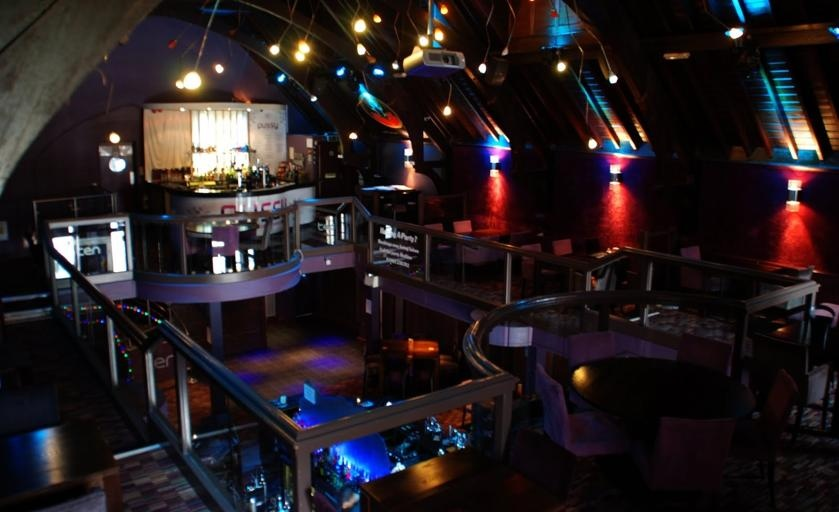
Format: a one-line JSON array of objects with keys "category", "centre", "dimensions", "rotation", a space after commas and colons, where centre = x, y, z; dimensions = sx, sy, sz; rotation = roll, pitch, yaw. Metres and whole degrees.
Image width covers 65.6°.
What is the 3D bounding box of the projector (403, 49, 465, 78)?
[{"category": "projector", "centre": [0.181, -2.606, 8.600], "dimensions": [0.704, 0.342, 0.435], "rotation": [-8, 7, -34]}]
